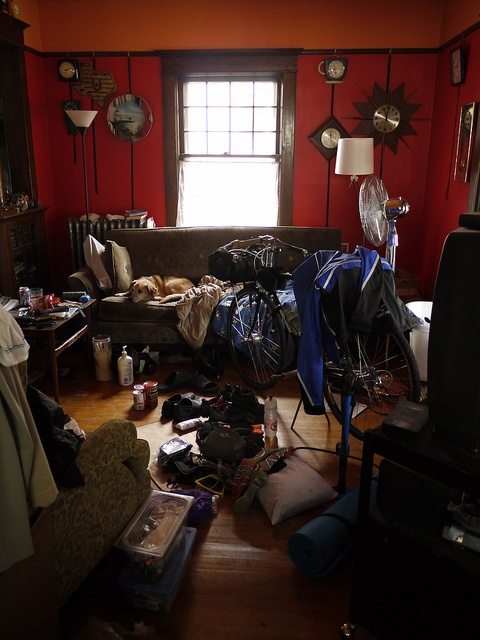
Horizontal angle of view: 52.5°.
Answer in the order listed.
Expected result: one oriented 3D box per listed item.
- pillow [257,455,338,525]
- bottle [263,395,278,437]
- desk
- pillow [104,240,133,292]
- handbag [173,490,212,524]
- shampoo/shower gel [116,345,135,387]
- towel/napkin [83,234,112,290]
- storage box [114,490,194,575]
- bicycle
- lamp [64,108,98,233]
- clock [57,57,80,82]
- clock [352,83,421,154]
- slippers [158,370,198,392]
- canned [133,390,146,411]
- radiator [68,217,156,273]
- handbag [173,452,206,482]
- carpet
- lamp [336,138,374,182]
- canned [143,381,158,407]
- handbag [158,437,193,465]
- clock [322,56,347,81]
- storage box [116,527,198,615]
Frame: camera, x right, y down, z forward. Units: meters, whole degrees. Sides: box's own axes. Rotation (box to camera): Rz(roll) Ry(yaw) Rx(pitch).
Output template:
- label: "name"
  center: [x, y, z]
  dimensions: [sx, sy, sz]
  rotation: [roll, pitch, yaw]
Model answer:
- label: "pillow"
  center: [0.257, 0.783, 2.226]
  dimensions: [0.227, 0.074, 0.217]
  rotation: [-9, 21, -23]
- label: "bottle"
  center: [0.182, 0.566, 2.886]
  dimensions: [0.077, 0.234, 0.162]
  rotation: [-1, 16, 3]
- label: "desk"
  center: [-1.192, 0.213, 3.231]
  dimensions: [0.395, 0.476, 0.561]
  rotation: [4, 22, 7]
- label: "pillow"
  center: [-1.033, -0.456, 4.193]
  dimensions: [0.134, 0.396, 0.378]
  rotation: [-7, 0, 13]
- label: "handbag"
  center: [-0.210, 0.844, 2.204]
  dimensions: [0.145, 0.055, 0.149]
  rotation: [5, 8, 29]
- label: "shampoo/shower gel"
  center: [-0.835, 0.347, 3.573]
  dimensions: [0.097, 0.257, 0.145]
  rotation: [0, 16, 8]
- label: "towel/napkin"
  center: [-1.217, -0.480, 4.150]
  dimensions: [0.146, 0.423, 0.332]
  rotation: [-24, 12, -18]
- label: "storage box"
  center: [-0.301, 0.754, 1.750]
  dimensions: [0.157, 0.106, 0.284]
  rotation: [1, 18, 11]
- label: "bicycle"
  center: [0.499, -0.010, 3.373]
  dimensions: [0.729, 1.427, 2.135]
  rotation: [-4, 7, -28]
- label: "lamp"
  center: [-1.432, -1.393, 4.617]
  dimensions: [0.254, 1.129, 0.814]
  rotation: [-6, 16, -15]
- label: "clock"
  center: [-1.662, -2.427, 4.723]
  dimensions: [0.186, 0.194, 0.046]
  rotation: [7, 14, 2]
- label: "clock"
  center: [1.389, -1.955, 4.625]
  dimensions: [0.798, 0.876, 0.061]
  rotation: [0, 11, 5]
- label: "slippers"
  center: [-0.451, 0.450, 3.510]
  dimensions: [0.246, 0.106, 0.120]
  rotation: [-19, 27, -33]
- label: "canned"
  center: [-0.655, 0.527, 3.177]
  dimensions: [0.073, 0.135, 0.050]
  rotation: [-8, 16, -21]
- label: "radiator"
  center: [-1.355, -0.758, 4.843]
  dimensions: [0.543, 0.161, 0.600]
  rotation: [-5, 35, -7]
- label: "handbag"
  center: [-0.276, 0.760, 2.476]
  dimensions: [0.142, 0.093, 0.176]
  rotation: [-13, 19, -33]
- label: "carpet"
  center: [-0.464, 0.786, 2.859]
  dimensions: [0.224, 0.090, 0.354]
  rotation: [-7, 35, -30]
- label: "lamp"
  center: [0.934, -1.360, 4.138]
  dimensions: [0.300, 0.337, 0.324]
  rotation: [0, 29, 1]
- label: "canned"
  center: [-0.593, 0.498, 3.212]
  dimensions: [0.104, 0.175, 0.104]
  rotation: [-13, 25, -38]
- label: "handbag"
  center: [-0.350, 0.705, 2.614]
  dimensions: [0.093, 0.048, 0.129]
  rotation: [12, 19, 38]
- label: "clock"
  center: [0.887, -2.380, 4.565]
  dimensions: [0.186, 0.192, 0.065]
  rotation: [0, 27, 3]
- label: "storage box"
  center: [-0.265, 0.886, 1.744]
  dimensions: [0.167, 0.098, 0.265]
  rotation: [7, 29, 16]
